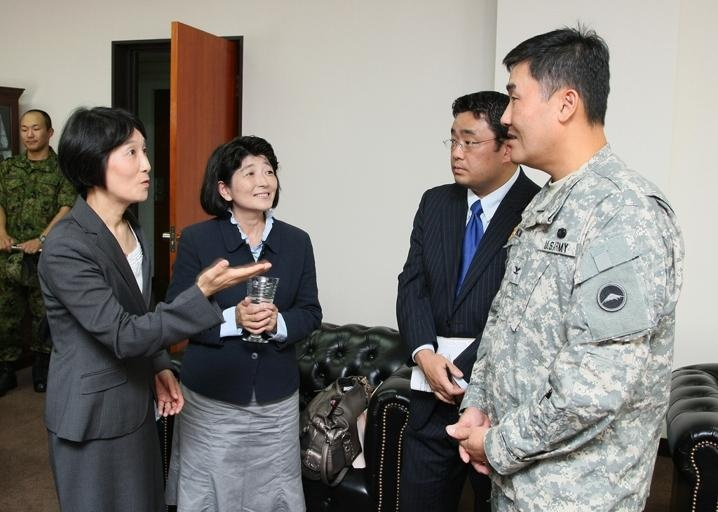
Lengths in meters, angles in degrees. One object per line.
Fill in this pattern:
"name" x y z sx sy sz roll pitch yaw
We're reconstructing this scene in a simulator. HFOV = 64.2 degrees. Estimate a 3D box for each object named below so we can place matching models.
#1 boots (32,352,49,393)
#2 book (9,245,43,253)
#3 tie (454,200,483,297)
"boots" -2.641 0.954 4.813 0.154 0.317 0.214 -1 -2 -15
"book" -2.650 -0.054 4.560 0.349 0.062 0.071 3 -12 28
"tie" 0.467 -0.065 2.386 0.070 0.517 0.030 15 -20 10
